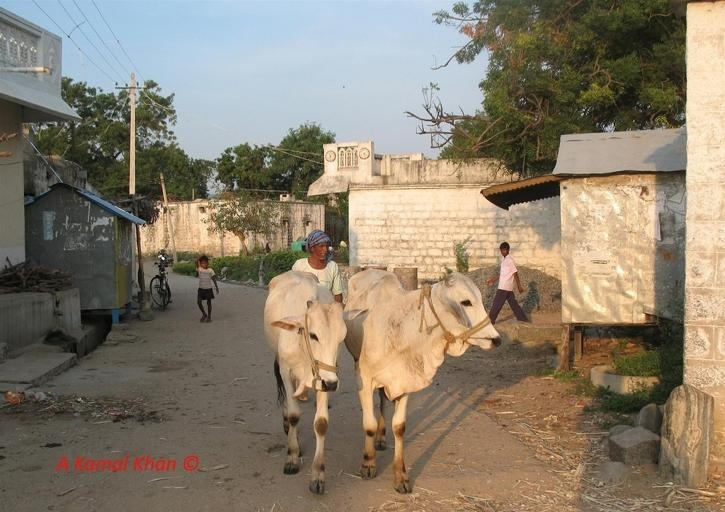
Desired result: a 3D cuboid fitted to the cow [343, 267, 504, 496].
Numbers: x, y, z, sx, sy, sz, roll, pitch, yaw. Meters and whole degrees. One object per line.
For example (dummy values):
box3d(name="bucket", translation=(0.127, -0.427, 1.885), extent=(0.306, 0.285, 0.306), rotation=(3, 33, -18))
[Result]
box3d(name="cow", translation=(0.446, 1.441, 9.649), extent=(1.173, 2.611, 2.336), rotation=(-9, 16, -38))
